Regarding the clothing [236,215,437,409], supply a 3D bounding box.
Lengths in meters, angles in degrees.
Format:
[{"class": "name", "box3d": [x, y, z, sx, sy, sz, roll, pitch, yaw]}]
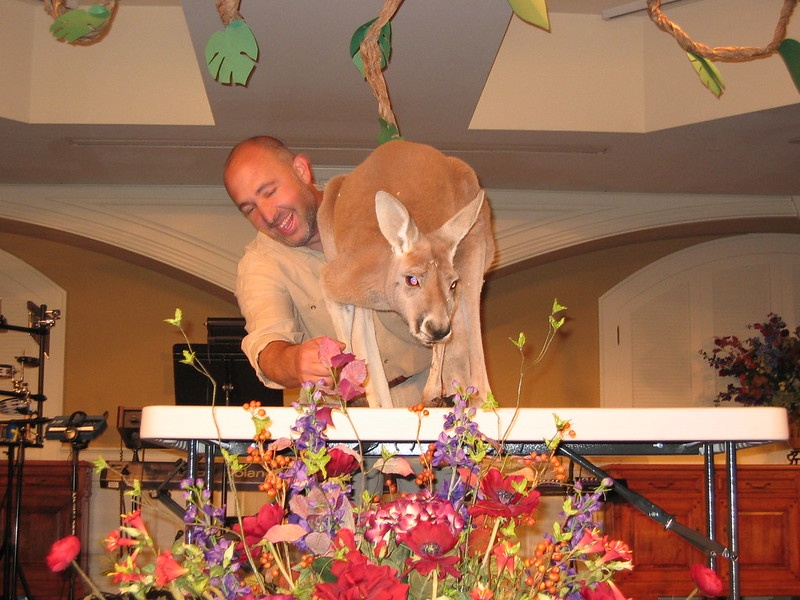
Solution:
[{"class": "clothing", "box3d": [-0.497, 0.061, 6.286, 1.062, 0.970, 0.395, 1, -23, -29]}]

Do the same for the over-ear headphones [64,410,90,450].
[{"class": "over-ear headphones", "box3d": [-2.452, 1.004, 8.517, 0.216, 0.285, 0.281, -2, -15, -4]}]
